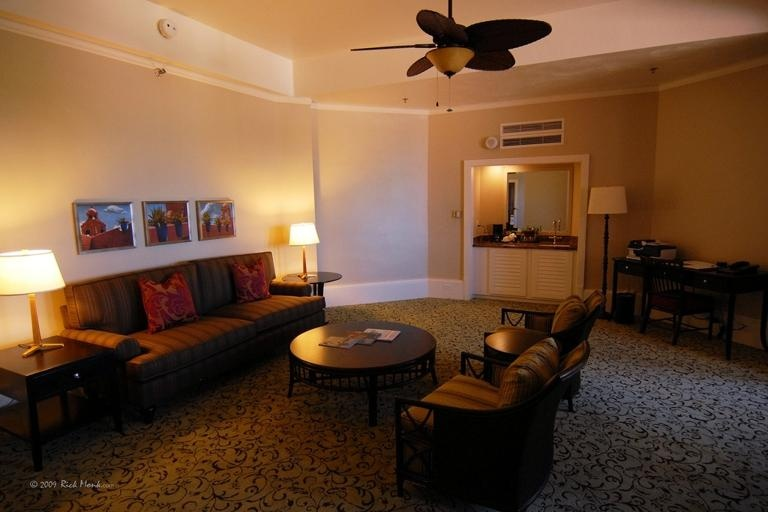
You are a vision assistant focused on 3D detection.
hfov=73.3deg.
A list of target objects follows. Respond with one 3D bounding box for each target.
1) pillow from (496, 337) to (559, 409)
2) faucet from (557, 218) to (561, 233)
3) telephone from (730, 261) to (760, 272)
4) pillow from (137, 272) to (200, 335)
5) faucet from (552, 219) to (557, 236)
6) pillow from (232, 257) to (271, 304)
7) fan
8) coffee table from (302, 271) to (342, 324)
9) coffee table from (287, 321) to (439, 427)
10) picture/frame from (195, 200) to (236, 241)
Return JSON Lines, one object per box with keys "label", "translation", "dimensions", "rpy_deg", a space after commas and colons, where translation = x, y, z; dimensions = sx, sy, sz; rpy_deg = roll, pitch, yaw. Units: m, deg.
{"label": "pillow", "translation": [1.199, 0.983, 4.279], "dimensions": [0.242, 0.340, 0.772], "rpy_deg": [17, 23, 37]}
{"label": "faucet", "translation": [2.871, -0.499, 8.436], "dimensions": [0.084, 0.220, 0.035], "rpy_deg": [-2, 9, 17]}
{"label": "telephone", "translation": [4.332, 0.135, 6.213], "dimensions": [0.299, 0.107, 0.182], "rpy_deg": [-9, 9, -31]}
{"label": "pillow", "translation": [-2.475, 0.548, 5.858], "dimensions": [0.306, 0.506, 0.595], "rpy_deg": [8, 14, 33]}
{"label": "faucet", "translation": [2.814, -0.458, 8.448], "dimensions": [0.064, 0.252, 0.077], "rpy_deg": [-2, 9, 21]}
{"label": "pillow", "translation": [-1.766, 0.330, 6.800], "dimensions": [0.547, 0.493, 0.203], "rpy_deg": [-12, -2, -45]}
{"label": "fan", "translation": [0.799, -2.390, 5.610], "dimensions": [1.158, 0.586, 1.247], "rpy_deg": [-5, 8, -36]}
{"label": "coffee table", "translation": [-0.901, 0.593, 7.399], "dimensions": [0.658, 0.619, 0.642], "rpy_deg": [3, 12, 15]}
{"label": "coffee table", "translation": [-0.274, 1.042, 5.315], "dimensions": [1.135, 0.387, 1.135], "rpy_deg": [5, 11, 31]}
{"label": "picture/frame", "translation": [-2.245, -0.479, 6.809], "dimensions": [0.054, 0.511, 0.566], "rpy_deg": [0, 5, 38]}
